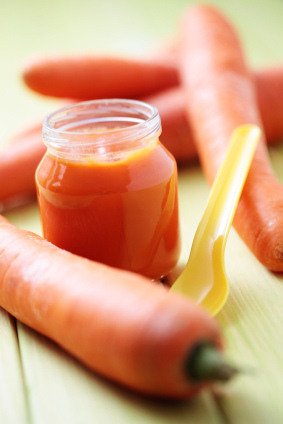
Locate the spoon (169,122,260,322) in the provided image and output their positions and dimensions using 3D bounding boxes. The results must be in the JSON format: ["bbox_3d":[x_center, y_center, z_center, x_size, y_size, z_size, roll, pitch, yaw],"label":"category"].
[{"bbox_3d":[0.129,-0.010,0.599,0.084,0.053,0.395,-6,40,27],"label":"spoon"}]
